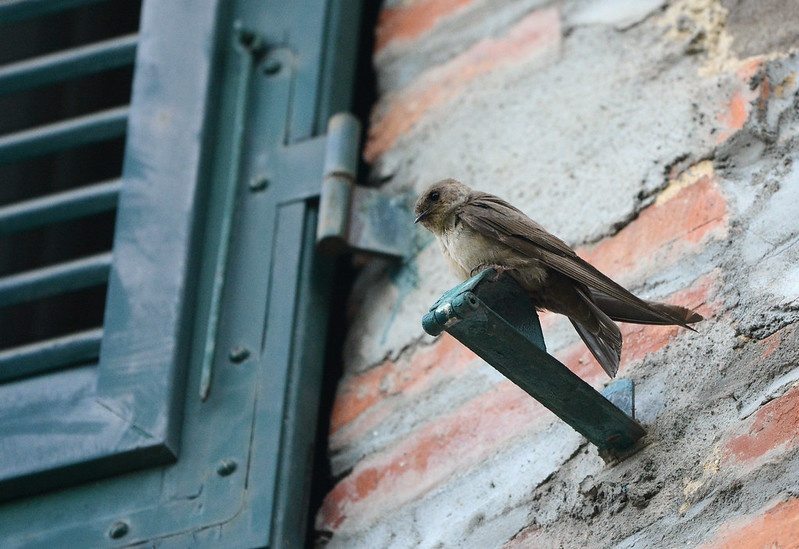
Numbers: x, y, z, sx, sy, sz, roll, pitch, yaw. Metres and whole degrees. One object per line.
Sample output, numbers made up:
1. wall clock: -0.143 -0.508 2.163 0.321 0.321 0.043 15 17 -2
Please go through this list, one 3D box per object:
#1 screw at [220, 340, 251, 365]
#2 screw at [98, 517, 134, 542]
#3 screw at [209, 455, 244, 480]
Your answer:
1. screw: -0.726 0.359 7.761 0.094 0.095 0.026 -61 -20 -17
2. screw: -1.222 1.116 7.515 0.026 0.088 0.088 78 -159 -55
3. screw: -0.754 0.845 7.543 0.023 0.087 0.087 73 -152 -43
